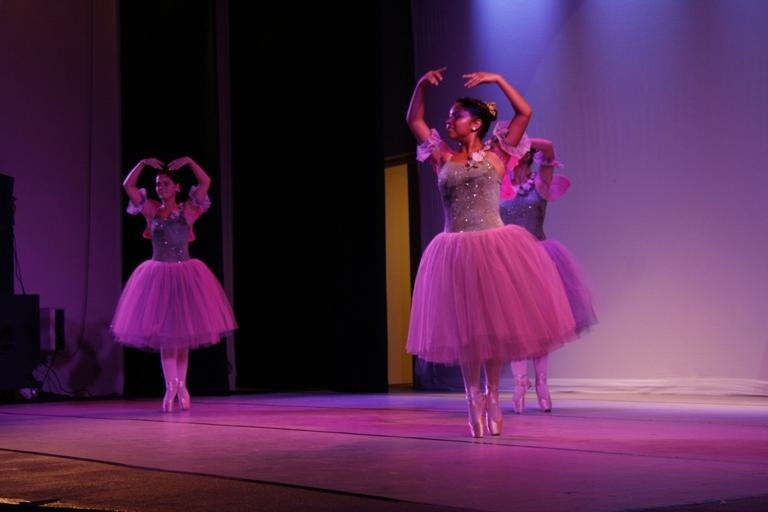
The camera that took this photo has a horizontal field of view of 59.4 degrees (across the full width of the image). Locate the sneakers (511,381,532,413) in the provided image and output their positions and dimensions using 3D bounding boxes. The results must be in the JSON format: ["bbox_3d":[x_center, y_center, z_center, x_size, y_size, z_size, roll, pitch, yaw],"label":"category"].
[{"bbox_3d":[0.791,0.809,3.951,0.103,0.266,0.079,15,-12,-43],"label":"sneakers"}]

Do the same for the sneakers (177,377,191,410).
[{"bbox_3d":[-1.324,0.913,4.462,0.082,0.194,0.269,1,-8,-17],"label":"sneakers"}]

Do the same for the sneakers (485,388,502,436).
[{"bbox_3d":[0.490,0.696,3.022,0.071,0.195,0.165,-2,-7,8],"label":"sneakers"}]

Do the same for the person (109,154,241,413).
[{"bbox_3d":[-1.428,0.171,4.625,0.828,1.715,0.494,1,-7,-19],"label":"person"}]

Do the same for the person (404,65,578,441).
[{"bbox_3d":[0.461,-0.062,3.086,0.738,1.714,0.382,-3,-7,16],"label":"person"}]

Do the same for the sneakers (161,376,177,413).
[{"bbox_3d":[-1.390,0.910,4.392,0.076,0.182,0.296,1,-8,-17],"label":"sneakers"}]
